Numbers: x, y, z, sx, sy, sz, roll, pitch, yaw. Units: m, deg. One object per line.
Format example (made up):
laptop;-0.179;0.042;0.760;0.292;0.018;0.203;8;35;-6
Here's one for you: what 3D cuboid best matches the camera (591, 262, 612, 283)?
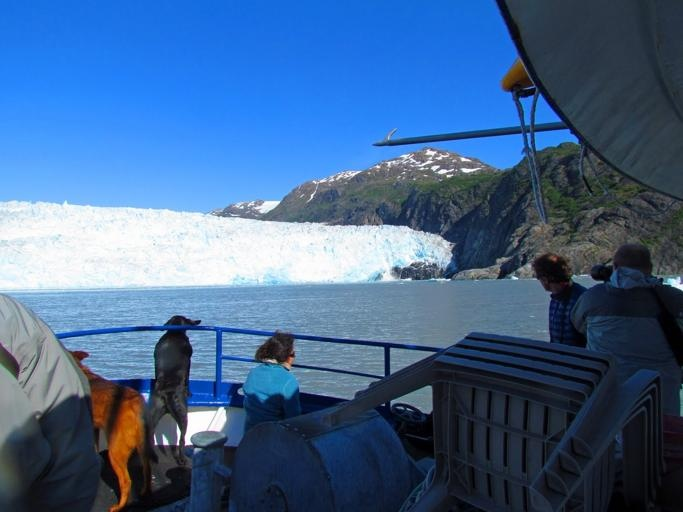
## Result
camera;1.700;0.118;3.731;0.112;0.114;0.197;3;27;12
